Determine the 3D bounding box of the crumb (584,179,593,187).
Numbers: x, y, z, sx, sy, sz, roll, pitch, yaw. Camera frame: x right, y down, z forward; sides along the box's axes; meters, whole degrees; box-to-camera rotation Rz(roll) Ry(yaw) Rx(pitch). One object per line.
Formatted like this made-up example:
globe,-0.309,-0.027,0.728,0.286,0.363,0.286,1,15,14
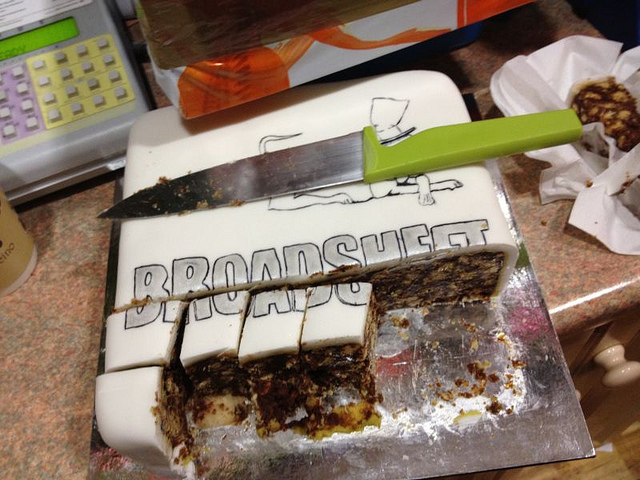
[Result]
crumb,0.501,-0.106,1.221,0.013,0.003,0.012,-9,50,12

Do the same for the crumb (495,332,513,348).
crumb,0.327,0.180,1.177,0.020,0.009,0.027,-33,60,-4

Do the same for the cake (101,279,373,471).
cake,-0.131,0.232,1.126,0.476,0.174,0.234,-12,55,1

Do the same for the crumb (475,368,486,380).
crumb,0.280,0.236,1.158,0.014,0.005,0.018,8,54,34

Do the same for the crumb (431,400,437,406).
crumb,0.198,0.283,1.144,0.010,0.002,0.009,-33,57,-13

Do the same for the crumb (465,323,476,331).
crumb,0.271,0.157,1.190,0.015,0.007,0.011,19,64,23

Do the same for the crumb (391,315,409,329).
crumb,0.147,0.149,1.203,0.033,0.007,0.019,15,60,19

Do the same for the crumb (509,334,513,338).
crumb,0.342,0.171,1.176,0.006,0.001,0.006,-6,55,5

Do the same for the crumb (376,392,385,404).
crumb,0.103,0.277,1.152,0.013,0.004,0.016,5,74,-5

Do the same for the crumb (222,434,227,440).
crumb,-0.169,0.340,1.136,0.002,0.007,0.007,-8,84,52

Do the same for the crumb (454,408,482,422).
crumb,0.254,0.299,1.130,0.027,0.006,0.025,1,51,9

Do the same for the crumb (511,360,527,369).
crumb,0.352,0.218,1.156,0.024,0.004,0.016,-5,55,6

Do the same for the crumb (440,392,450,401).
crumb,0.218,0.273,1.146,0.012,0.003,0.011,15,71,13

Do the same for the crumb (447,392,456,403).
crumb,0.229,0.275,1.145,0.010,0.004,0.013,0,47,-17

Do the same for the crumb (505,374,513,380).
crumb,0.332,0.239,1.150,0.011,0.002,0.009,9,58,15

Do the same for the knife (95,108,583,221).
knife,0.048,-0.136,1.192,0.780,0.036,0.103,-11,54,5

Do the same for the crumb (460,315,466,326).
crumb,0.260,0.146,1.196,0.011,0.004,0.014,0,74,4

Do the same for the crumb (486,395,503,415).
crumb,0.303,0.285,1.133,0.025,0.007,0.026,6,66,9
